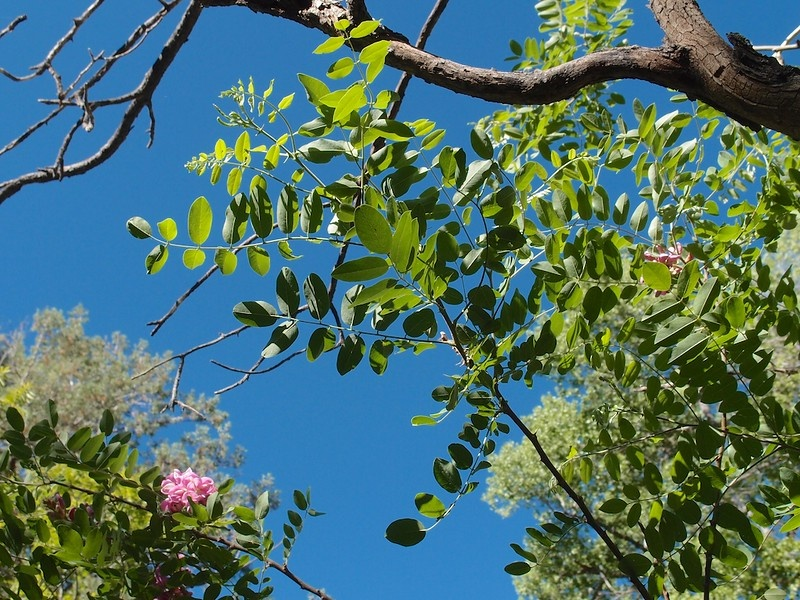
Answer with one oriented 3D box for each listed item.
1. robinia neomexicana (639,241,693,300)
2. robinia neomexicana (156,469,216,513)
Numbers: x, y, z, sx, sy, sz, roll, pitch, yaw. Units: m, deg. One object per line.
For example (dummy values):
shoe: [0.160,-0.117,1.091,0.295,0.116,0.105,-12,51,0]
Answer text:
robinia neomexicana: [1.814,-0.279,8.831,0.144,0.343,0.345,14,-96,-26]
robinia neomexicana: [-1.420,1.294,8.834,0.366,0.305,0.302,1,-52,-11]
